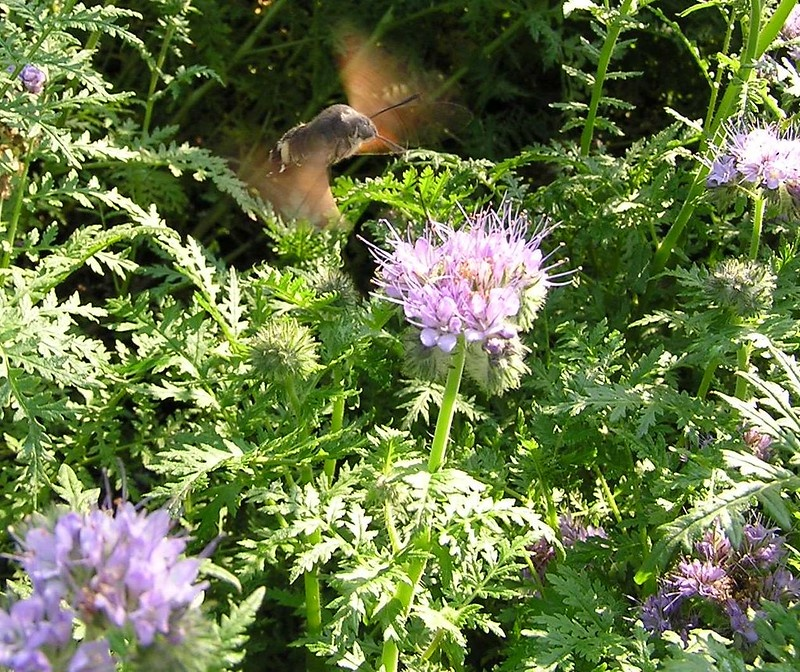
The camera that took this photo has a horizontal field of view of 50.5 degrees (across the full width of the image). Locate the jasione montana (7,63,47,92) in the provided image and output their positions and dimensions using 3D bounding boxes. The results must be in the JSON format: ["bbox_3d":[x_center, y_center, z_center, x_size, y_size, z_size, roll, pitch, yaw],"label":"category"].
[{"bbox_3d":[-1.268,-0.876,2.870,0.094,0.148,0.069,-5,18,-11],"label":"jasione montana"}]

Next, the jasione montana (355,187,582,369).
[{"bbox_3d":[0.207,-0.159,2.426,0.483,0.321,0.536,11,35,14],"label":"jasione montana"}]
